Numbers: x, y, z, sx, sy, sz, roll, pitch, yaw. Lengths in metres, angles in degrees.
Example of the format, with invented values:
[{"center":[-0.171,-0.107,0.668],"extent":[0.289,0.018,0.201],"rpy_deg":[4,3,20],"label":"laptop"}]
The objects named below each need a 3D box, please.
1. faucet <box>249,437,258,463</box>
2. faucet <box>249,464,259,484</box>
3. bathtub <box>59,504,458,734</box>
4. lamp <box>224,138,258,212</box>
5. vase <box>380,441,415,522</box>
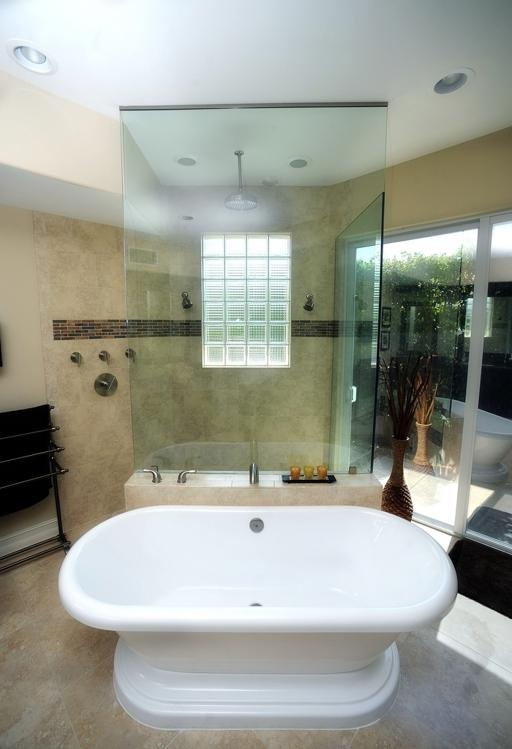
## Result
[{"center":[-0.017,0.454,2.989],"extent":[0.055,0.144,0.026],"rpy_deg":[0,12,-1],"label":"faucet"},{"center":[-0.018,0.555,2.949],"extent":[0.056,0.106,0.154],"rpy_deg":[0,12,0],"label":"faucet"},{"center":[0.001,1.063,2.367],"extent":[1.657,0.611,0.875],"rpy_deg":[0,12,0],"label":"bathtub"},{"center":[-0.083,-1.083,2.740],"extent":[0.190,0.359,0.203],"rpy_deg":[18,28,35],"label":"lamp"},{"center":[0.901,0.729,3.316],"extent":[0.232,0.593,0.217],"rpy_deg":[4,-4,0],"label":"vase"}]
